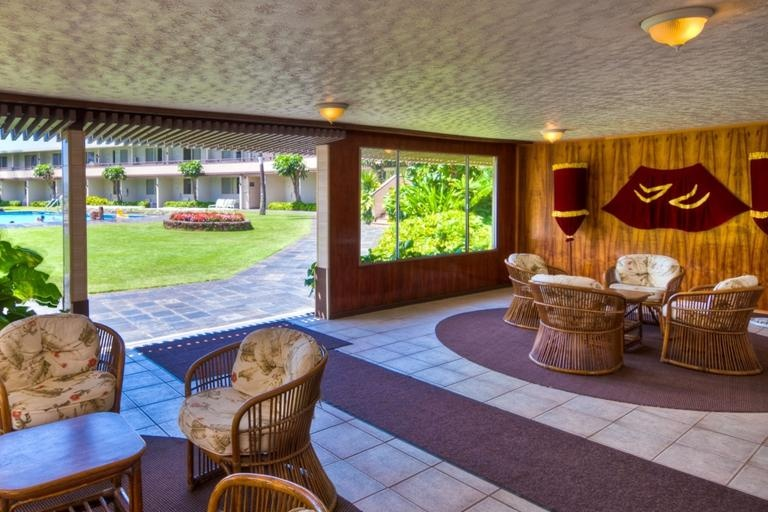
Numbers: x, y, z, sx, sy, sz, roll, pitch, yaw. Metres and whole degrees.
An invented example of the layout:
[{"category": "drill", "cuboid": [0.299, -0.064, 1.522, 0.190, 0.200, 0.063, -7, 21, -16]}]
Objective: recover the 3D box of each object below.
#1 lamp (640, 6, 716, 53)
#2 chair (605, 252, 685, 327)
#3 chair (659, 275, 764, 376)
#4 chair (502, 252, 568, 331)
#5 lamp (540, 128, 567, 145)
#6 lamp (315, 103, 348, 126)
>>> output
[{"category": "lamp", "cuboid": [2.186, -1.613, 3.395, 0.344, 0.128, 0.316, -2, -2, -38]}, {"category": "chair", "cuboid": [3.853, 0.462, 7.125, 1.286, 1.011, 1.392, 4, 10, 42]}, {"category": "chair", "cuboid": [3.836, 0.789, 5.818, 1.429, 1.090, 1.360, -1, 1, -40]}, {"category": "chair", "cuboid": [2.673, 0.490, 7.164, 1.216, 0.972, 1.188, -1, 5, 26]}, {"category": "lamp", "cuboid": [2.925, -1.960, 7.878, 0.568, 0.162, 0.450, 0, -1, -9]}, {"category": "lamp", "cuboid": [-0.611, -1.723, 5.833, 0.331, 0.129, 0.258, -2, 0, -15]}]
